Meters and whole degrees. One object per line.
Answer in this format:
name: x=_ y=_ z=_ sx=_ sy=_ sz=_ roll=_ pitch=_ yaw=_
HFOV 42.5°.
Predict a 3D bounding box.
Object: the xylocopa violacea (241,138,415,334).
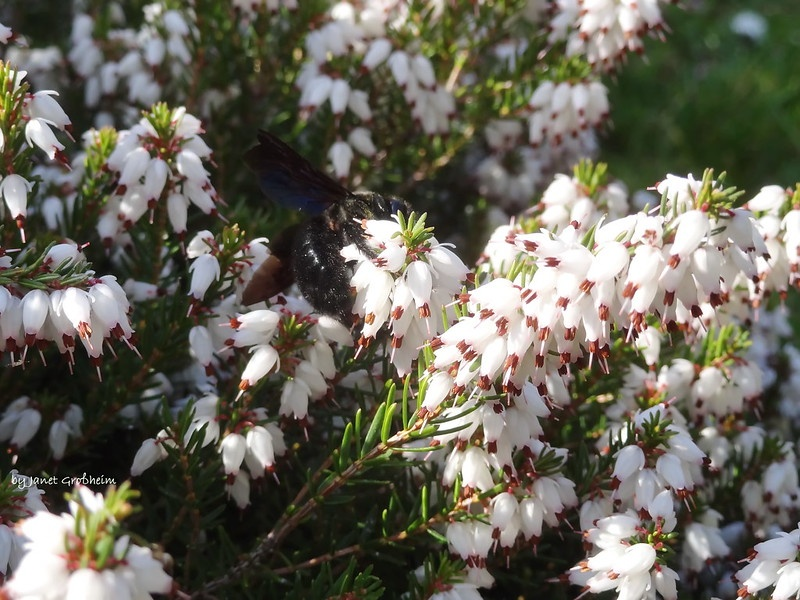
xylocopa violacea: x=-0.222 y=-0.182 z=2.700 sx=0.482 sy=0.394 sz=0.172 roll=30 pitch=50 yaw=-1
